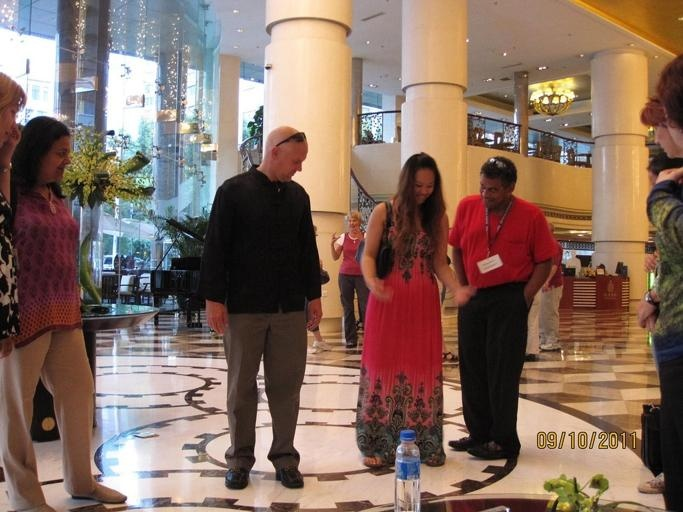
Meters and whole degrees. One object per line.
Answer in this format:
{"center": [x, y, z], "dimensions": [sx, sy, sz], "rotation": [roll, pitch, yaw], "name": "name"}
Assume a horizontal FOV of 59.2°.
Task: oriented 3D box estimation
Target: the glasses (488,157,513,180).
{"center": [0.963, -0.518, 3.675], "dimensions": [0.110, 0.141, 0.139], "rotation": [-3, 25, -43], "name": "glasses"}

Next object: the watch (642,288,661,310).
{"center": [1.262, 0.172, 2.473], "dimensions": [0.042, 0.094, 0.069], "rotation": [2, 11, 6], "name": "watch"}

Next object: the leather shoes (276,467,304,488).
{"center": [-0.272, 1.224, 3.306], "dimensions": [0.061, 0.070, 0.169], "rotation": [5, -13, -28], "name": "leather shoes"}

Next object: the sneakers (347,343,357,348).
{"center": [0.125, 1.163, 7.796], "dimensions": [0.052, 0.066, 0.138], "rotation": [-6, -12, 40], "name": "sneakers"}

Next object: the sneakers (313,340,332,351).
{"center": [-0.233, 1.136, 7.525], "dimensions": [0.247, 0.114, 0.101], "rotation": [3, -2, -22], "name": "sneakers"}

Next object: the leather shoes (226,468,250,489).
{"center": [-0.567, 1.211, 3.277], "dimensions": [0.129, 0.066, 0.111], "rotation": [0, 0, -17], "name": "leather shoes"}

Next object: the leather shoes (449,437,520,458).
{"center": [0.901, 1.213, 3.767], "dimensions": [0.218, 0.079, 0.171], "rotation": [9, -10, -3], "name": "leather shoes"}

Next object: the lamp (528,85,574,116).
{"center": [7.083, -5.089, 19.923], "dimensions": [1.303, 1.043, 1.341], "rotation": [-1, -4, 34], "name": "lamp"}

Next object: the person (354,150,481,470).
{"center": [0.396, 0.322, 3.600], "dimensions": [0.590, 1.861, 0.280], "rotation": [0, 0, -26], "name": "person"}

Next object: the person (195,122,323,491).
{"center": [-0.443, 0.271, 3.406], "dimensions": [0.663, 1.979, 0.339], "rotation": [0, 0, -7], "name": "person"}

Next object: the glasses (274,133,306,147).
{"center": [-0.271, -0.647, 3.354], "dimensions": [0.185, 0.089, 0.090], "rotation": [0, 0, -30], "name": "glasses"}

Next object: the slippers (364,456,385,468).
{"center": [0.185, 1.210, 3.527], "dimensions": [0.090, 0.038, 0.083], "rotation": [-2, -4, 23], "name": "slippers"}
